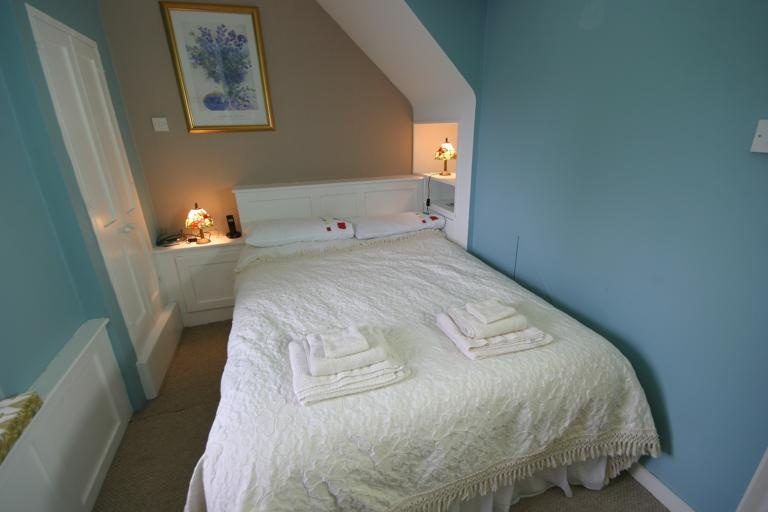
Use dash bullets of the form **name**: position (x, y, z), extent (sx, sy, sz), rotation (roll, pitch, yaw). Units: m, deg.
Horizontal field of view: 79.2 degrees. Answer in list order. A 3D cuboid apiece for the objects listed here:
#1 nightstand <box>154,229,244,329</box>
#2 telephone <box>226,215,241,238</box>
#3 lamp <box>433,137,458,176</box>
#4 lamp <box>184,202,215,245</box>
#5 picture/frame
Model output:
- **nightstand**: position (-1.577, 0.198, 3.909), extent (0.679, 0.661, 0.374), rotation (-8, 20, -24)
- **telephone**: position (-1.350, -0.261, 4.158), extent (0.113, 0.196, 0.114), rotation (-16, 34, -24)
- **lamp**: position (0.572, -0.927, 4.366), extent (0.193, 0.329, 0.348), rotation (0, 18, 6)
- **lamp**: position (-1.607, -0.286, 4.031), extent (0.227, 0.344, 0.218), rotation (15, 31, 15)
- **picture/frame**: position (-1.418, -1.594, 3.837), extent (0.869, 1.107, 0.076), rotation (-12, 17, -22)
